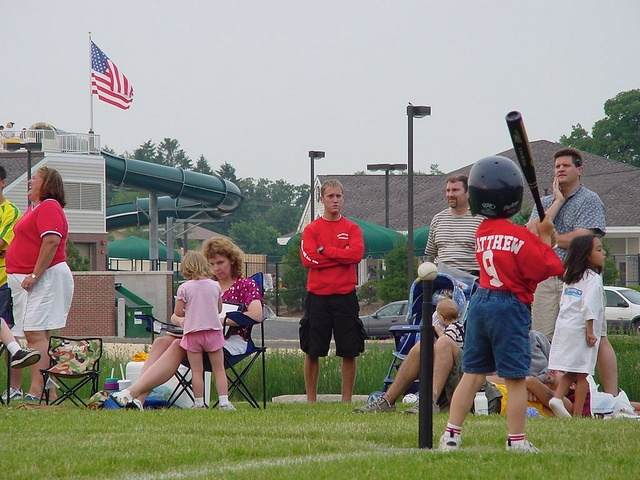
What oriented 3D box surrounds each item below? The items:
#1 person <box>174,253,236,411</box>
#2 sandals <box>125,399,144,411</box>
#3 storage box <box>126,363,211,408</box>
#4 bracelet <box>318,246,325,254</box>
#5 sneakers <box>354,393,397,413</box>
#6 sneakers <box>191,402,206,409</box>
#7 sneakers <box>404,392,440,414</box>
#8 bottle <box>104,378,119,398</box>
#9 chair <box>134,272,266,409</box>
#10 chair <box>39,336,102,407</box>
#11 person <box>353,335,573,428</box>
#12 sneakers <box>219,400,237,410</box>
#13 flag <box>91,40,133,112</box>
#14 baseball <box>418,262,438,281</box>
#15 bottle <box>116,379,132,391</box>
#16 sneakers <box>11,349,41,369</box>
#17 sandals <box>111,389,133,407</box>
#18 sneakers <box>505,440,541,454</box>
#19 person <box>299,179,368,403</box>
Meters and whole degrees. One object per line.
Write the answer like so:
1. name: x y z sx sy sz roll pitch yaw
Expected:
1. person: -1.233 0.951 13.358 0.603 1.673 0.333 -1 -4 -11
2. sandals: -1.911 1.689 13.018 0.191 0.086 0.081 9 -5 -29
3. storage box: -1.526 1.622 13.726 0.541 0.542 0.554 0 -2 6
4. bracelet: 0.009 0.107 14.184 0.043 0.062 0.066 2 6 1
5. sneakers: 0.572 1.716 13.308 0.435 0.194 0.173 3 -2 -4
6. sneakers: -1.267 1.740 13.313 0.156 0.058 0.270 -1 -4 -5
7. sneakers: 1.021 1.729 13.303 0.478 0.286 0.160 4 -5 -14
8. bottle: -2.268 1.579 13.703 0.144 0.167 0.146 0 -1 1
9. chair: -1.238 1.013 13.502 1.573 1.437 1.040 5 -9 -37
10. chair: -2.664 1.454 13.546 0.689 0.863 0.694 1 -6 19
11. person: 1.535 1.477 13.343 1.602 0.531 1.034 -1 0 -17
12. sneakers: -0.978 1.733 13.298 0.199 0.088 0.077 0 1 30
13. flag: -6.345 -4.944 38.099 1.180 2.299 2.117 0 -4 -19
14. baseball: 0.936 0.280 11.119 0.154 0.168 0.268 -2 -4 2
15. bottle: -2.105 1.557 13.601 0.108 0.083 0.113 1 2 0
16. sneakers: -3.062 1.243 13.122 0.355 0.174 0.147 -22 -15 38
17. sandals: -2.046 1.632 13.044 0.218 0.168 0.114 -1 -4 -3
18. sneakers: 1.772 1.809 11.088 0.295 0.126 0.106 1 5 -32
19. person: 0.120 0.571 14.468 0.755 2.571 0.774 -1 -4 0
